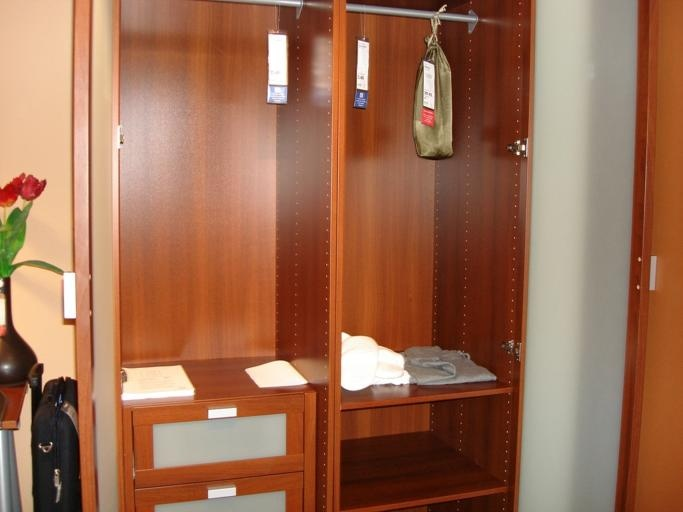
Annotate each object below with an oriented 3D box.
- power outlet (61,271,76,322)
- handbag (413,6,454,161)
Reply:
[{"bbox_3d":[-0.837,0.125,2.022,0.039,0.149,0.073,-2,3,-26],"label":"power outlet"},{"bbox_3d":[0.381,-0.720,2.729,0.170,0.622,0.071,-2,3,-28],"label":"handbag"}]
